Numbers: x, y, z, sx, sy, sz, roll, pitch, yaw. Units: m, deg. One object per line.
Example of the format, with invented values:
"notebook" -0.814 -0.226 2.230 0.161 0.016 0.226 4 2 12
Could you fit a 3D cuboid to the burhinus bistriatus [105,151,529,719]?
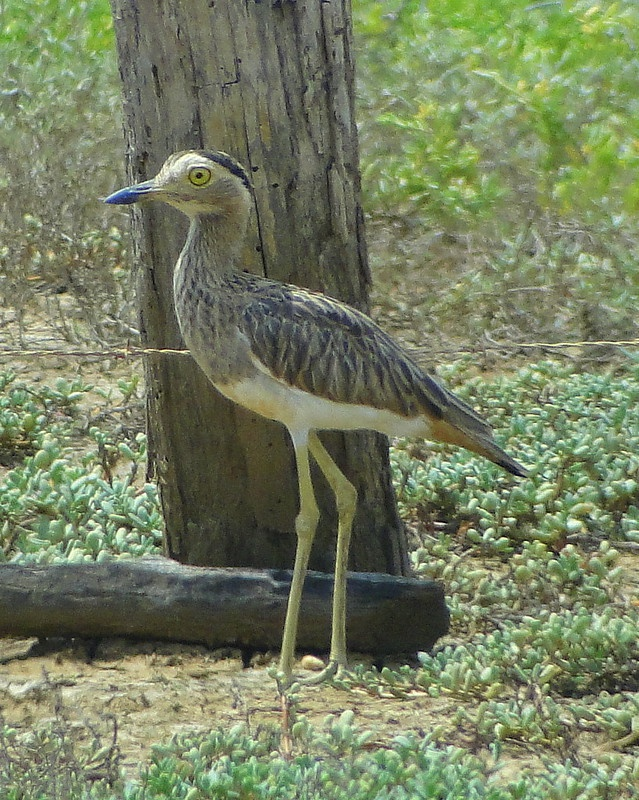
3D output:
"burhinus bistriatus" -0.077 0.060 4.226 1.170 1.757 0.344 -3 11 -10
